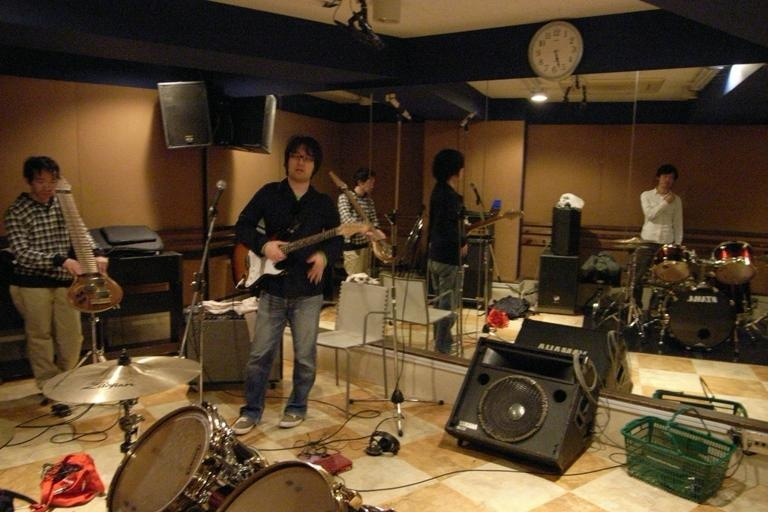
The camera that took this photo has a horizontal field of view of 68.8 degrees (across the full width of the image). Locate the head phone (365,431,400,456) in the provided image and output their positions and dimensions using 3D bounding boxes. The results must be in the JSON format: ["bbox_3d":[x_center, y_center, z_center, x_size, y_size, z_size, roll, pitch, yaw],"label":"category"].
[{"bbox_3d":[-0.010,1.549,4.666,0.280,0.140,0.224,2,9,9],"label":"head phone"}]

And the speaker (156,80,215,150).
[{"bbox_3d":[-2.283,-1.653,6.464,0.761,0.944,0.530,-2,17,-2],"label":"speaker"}]

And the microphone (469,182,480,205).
[{"bbox_3d":[0.845,-0.571,5.144,0.056,0.233,0.079,-20,6,-36],"label":"microphone"}]

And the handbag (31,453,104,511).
[{"bbox_3d":[-2.326,1.672,4.145,0.341,0.167,0.381,15,19,34],"label":"handbag"}]

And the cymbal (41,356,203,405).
[{"bbox_3d":[-1.728,0.794,3.619,0.573,0.113,0.563,9,16,18],"label":"cymbal"}]

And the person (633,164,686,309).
[{"bbox_3d":[2.254,-0.277,4.571,0.322,0.934,0.102,1,10,4],"label":"person"}]

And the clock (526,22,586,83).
[{"bbox_3d":[1.543,-1.791,4.966,0.635,0.672,0.096,-1,-7,26],"label":"clock"}]

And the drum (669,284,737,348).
[{"bbox_3d":[2.632,0.512,4.842,0.642,0.600,0.459,1,2,11],"label":"drum"}]

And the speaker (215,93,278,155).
[{"bbox_3d":[-1.657,-1.623,6.737,0.667,0.544,0.359,8,1,17],"label":"speaker"}]

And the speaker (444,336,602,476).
[{"bbox_3d":[1.234,1.176,4.736,1.052,0.779,1.093,4,14,39],"label":"speaker"}]

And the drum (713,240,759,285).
[{"bbox_3d":[2.743,0.057,4.398,0.164,0.357,0.269,-4,10,-25],"label":"drum"}]

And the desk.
[{"bbox_3d":[-2.652,0.448,6.081,1.051,0.929,0.368,-3,20,-22],"label":"desk"}]

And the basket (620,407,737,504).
[{"bbox_3d":[2.269,1.522,4.421,0.525,0.513,0.713,-10,11,-40],"label":"basket"}]
